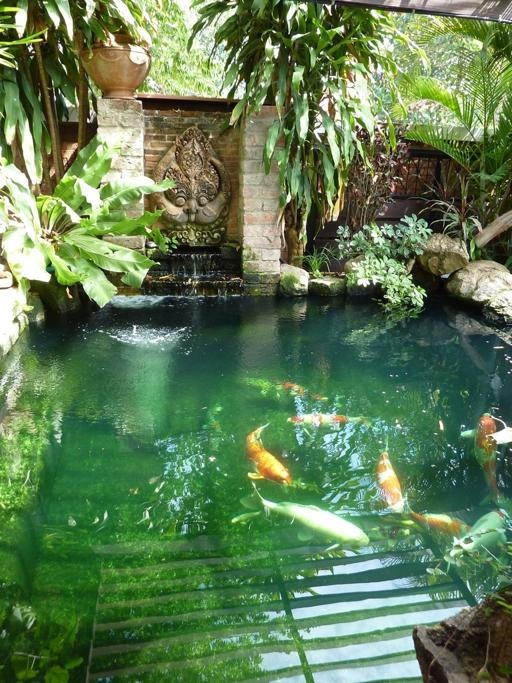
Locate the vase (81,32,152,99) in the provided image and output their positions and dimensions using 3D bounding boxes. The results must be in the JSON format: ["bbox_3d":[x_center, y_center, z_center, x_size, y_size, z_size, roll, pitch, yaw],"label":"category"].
[{"bbox_3d":[-1.304,-2.501,4.546,0.603,0.449,0.598,12,20,31],"label":"vase"}]

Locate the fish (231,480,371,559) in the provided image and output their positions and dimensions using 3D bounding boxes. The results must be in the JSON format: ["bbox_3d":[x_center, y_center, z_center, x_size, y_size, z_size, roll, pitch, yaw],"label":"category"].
[{"bbox_3d":[0.146,0.568,1.603,0.478,0.071,0.126,17,25,35],"label":"fish"}]
